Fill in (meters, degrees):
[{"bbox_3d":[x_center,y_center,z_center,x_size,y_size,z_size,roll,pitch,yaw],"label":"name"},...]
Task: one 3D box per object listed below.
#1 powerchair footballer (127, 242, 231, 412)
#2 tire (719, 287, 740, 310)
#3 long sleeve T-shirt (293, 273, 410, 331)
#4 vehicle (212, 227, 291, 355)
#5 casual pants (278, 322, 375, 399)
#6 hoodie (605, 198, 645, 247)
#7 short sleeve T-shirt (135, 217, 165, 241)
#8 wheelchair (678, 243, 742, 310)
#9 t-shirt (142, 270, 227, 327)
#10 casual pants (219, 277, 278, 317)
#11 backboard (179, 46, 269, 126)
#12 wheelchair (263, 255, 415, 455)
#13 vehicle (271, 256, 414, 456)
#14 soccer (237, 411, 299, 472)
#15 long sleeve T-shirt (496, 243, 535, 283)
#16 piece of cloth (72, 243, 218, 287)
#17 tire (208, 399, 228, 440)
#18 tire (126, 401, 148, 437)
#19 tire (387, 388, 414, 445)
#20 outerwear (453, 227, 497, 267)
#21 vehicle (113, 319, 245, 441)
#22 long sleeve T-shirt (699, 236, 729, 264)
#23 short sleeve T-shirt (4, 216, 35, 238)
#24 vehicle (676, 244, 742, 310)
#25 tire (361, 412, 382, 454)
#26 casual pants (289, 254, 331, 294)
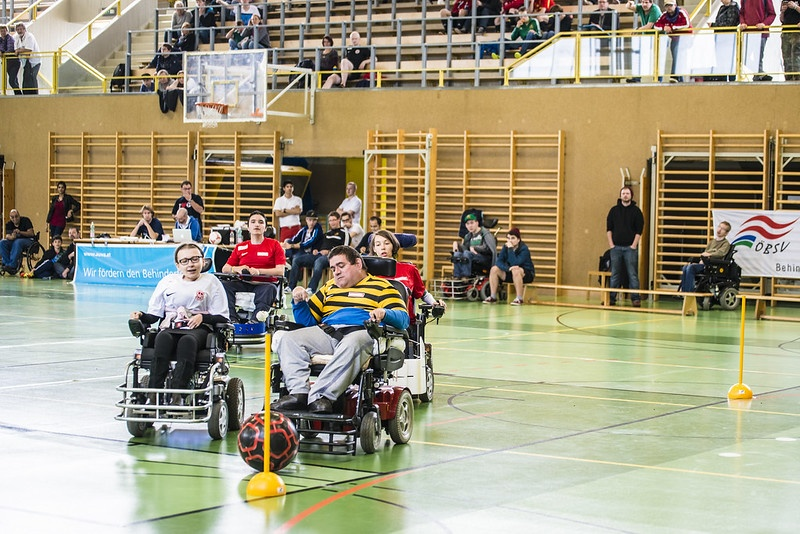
[{"bbox_3d":[-2.654,0.663,14.267,0.883,1.816,1.013,-4,-5,33],"label":"powerchair footballer"},{"bbox_3d":[6.338,0.622,23.244,0.406,0.401,0.143,-7,11,-38],"label":"tire"},{"bbox_3d":[-0.582,0.446,14.047,1.446,0.707,0.785,3,4,26],"label":"long sleeve T-shirt"},{"bbox_3d":[-2.598,0.369,18.433,1.110,1.822,1.890,0,-2,5],"label":"vehicle"},{"bbox_3d":[-0.881,1.085,13.429,0.763,0.952,0.939,-1,-8,15],"label":"casual pants"},{"bbox_3d":[4.570,-0.863,24.323,0.954,1.230,0.542,-3,-8,32],"label":"hoodie"},{"bbox_3d":[-5.670,-0.819,27.245,0.499,0.559,0.332,-12,-20,42],"label":"short sleeve T-shirt"},{"bbox_3d":[6.070,0.215,23.264,1.169,1.455,1.096,2,-2,1],"label":"wheelchair"},{"bbox_3d":[-2.552,0.377,14.379,1.063,0.799,0.586,0,-8,8],"label":"t-shirt"},{"bbox_3d":[-2.256,0.452,18.024,0.578,0.711,0.708,0,-8,5],"label":"casual pants"},{"bbox_3d":[-3.900,-4.020,27.020,2.019,1.432,0.198,1,4,20],"label":"backboard"},{"bbox_3d":[-0.768,0.881,13.758,1.503,2.224,1.818,2,0,20],"label":"wheelchair"},{"bbox_3d":[-0.775,0.869,13.750,1.508,2.212,1.879,2,0,14],"label":"vehicle"},{"bbox_3d":[-1.398,1.868,12.927,0.463,0.671,0.572,8,12,38],"label":"soccer"},{"bbox_3d":[2.302,-0.064,24.034,0.625,0.831,0.832,0,4,34],"label":"long sleeve T-shirt"},{"bbox_3d":[-5.810,0.073,27.169,0.234,1.145,3.943,10,6,35],"label":"piece of cloth"},{"bbox_3d":[-2.093,1.760,13.751,0.136,0.355,0.356,2,-25,10],"label":"tire"},{"bbox_3d":[-2.999,1.726,13.702,0.134,0.371,0.373,-1,9,10],"label":"tire"},{"bbox_3d":[-0.015,1.725,13.737,0.176,0.609,0.553,-3,-11,22],"label":"tire"},{"bbox_3d":[1.541,-0.351,24.528,0.859,0.871,0.770,9,14,38],"label":"outerwear"},{"bbox_3d":[-2.537,1.223,14.206,1.242,1.488,1.907,1,0,2],"label":"vehicle"},{"bbox_3d":[6.112,-0.301,23.375,0.260,0.448,0.449,33,-11,-31],"label":"long sleeve T-shirt"},{"bbox_3d":[-9.288,-0.935,29.410,0.483,0.437,0.641,-4,-16,-3],"label":"short sleeve T-shirt"},{"bbox_3d":[6.163,0.175,23.484,0.963,1.168,0.876,-4,7,10],"label":"vehicle"},{"bbox_3d":[-0.337,1.858,13.417,0.161,0.451,0.424,-1,-7,9],"label":"tire"},{"bbox_3d":[-1.935,0.138,24.782,0.669,0.778,0.813,0,5,1],"label":"casual pants"}]
